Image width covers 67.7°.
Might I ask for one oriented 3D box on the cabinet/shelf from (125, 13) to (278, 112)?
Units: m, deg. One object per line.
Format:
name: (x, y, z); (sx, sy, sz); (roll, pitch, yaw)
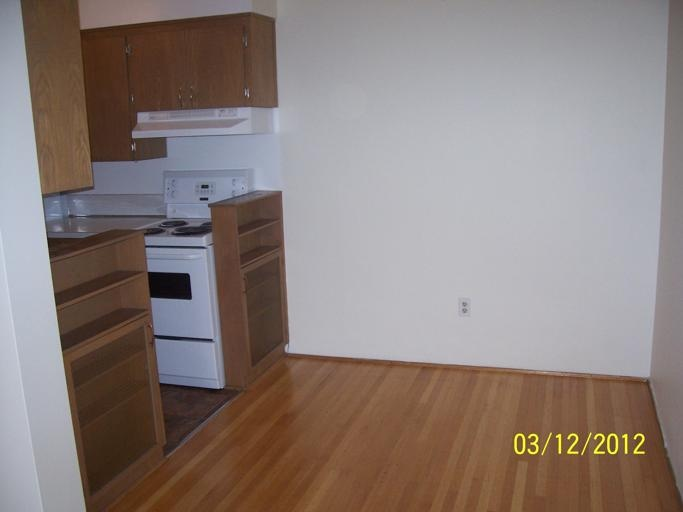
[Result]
cabinet/shelf: (-1.104, -1.407, 3.966); (1.047, 0.688, 0.405); (2, 5, 16)

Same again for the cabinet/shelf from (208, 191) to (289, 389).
cabinet/shelf: (-0.687, 0.230, 3.968); (0.254, 1.385, 0.710); (0, 12, 20)

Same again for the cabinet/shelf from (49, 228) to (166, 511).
cabinet/shelf: (-1.264, 0.608, 2.725); (0.260, 1.400, 0.636); (-1, 11, 15)
